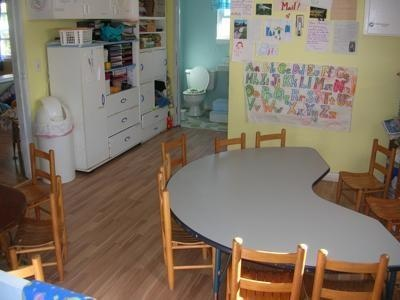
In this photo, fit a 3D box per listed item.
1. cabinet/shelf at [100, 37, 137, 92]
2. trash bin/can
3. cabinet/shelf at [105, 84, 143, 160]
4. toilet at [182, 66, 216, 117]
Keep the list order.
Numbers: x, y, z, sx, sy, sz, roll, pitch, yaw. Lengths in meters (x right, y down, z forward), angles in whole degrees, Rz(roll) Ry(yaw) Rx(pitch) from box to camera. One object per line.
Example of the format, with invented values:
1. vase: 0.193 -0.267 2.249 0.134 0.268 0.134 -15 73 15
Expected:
1. cabinet/shelf: -1.252 -1.325 4.689 0.248 0.716 0.732 11 26 19
2. trash bin/can: -1.895 -0.140 4.039 0.423 1.076 0.481 10 21 28
3. cabinet/shelf: -1.216 -0.446 4.859 0.318 0.931 0.931 10 23 21
4. toilet: -0.054 -1.337 7.077 0.695 1.069 0.802 5 21 12
